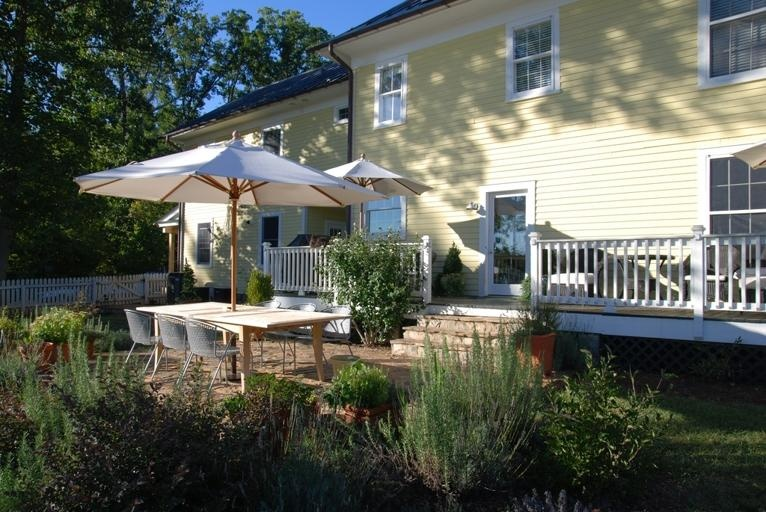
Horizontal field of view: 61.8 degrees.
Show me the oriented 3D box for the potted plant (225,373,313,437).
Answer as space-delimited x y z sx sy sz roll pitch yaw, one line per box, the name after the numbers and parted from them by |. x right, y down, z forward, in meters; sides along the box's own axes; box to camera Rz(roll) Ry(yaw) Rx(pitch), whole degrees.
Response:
-1.526 1.909 8.369 0.726 0.446 0.789 2 0 27 | potted plant

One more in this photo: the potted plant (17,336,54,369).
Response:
-5.859 1.644 10.777 0.507 0.488 0.620 -1 -5 14 | potted plant

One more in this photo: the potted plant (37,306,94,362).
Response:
-5.658 1.415 11.329 0.784 0.902 0.881 2 -6 -13 | potted plant

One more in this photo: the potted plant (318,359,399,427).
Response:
-0.363 1.858 8.887 0.715 0.420 0.813 0 0 -37 | potted plant

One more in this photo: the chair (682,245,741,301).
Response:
5.962 0.300 11.569 0.730 1.160 0.734 -5 -19 36 | chair

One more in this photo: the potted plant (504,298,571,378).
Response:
2.610 1.341 10.629 1.131 1.760 1.174 -1 -11 -1 | potted plant

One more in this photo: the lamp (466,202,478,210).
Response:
2.112 -1.177 15.155 0.239 0.169 0.155 10 15 42 | lamp

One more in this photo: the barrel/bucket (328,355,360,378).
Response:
-0.612 1.691 10.131 0.390 0.322 0.404 1 0 0 | barrel/bucket

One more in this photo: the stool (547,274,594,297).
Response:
3.752 0.554 12.628 0.652 0.380 0.662 -2 -6 25 | stool

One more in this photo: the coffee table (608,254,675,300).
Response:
5.059 0.465 12.561 1.326 0.955 0.400 4 1 31 | coffee table
